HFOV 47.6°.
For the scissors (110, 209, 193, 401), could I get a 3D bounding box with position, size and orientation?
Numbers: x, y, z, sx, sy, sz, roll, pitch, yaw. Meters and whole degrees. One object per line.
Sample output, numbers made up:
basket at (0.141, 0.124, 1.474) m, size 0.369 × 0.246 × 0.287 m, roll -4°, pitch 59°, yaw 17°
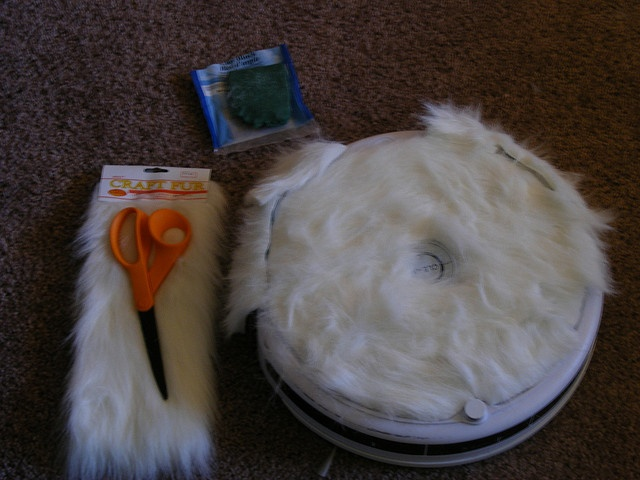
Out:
scissors at (-0.286, 0.091, 1.194) m, size 0.142 × 0.051 × 0.320 m, roll -4°, pitch 67°, yaw -9°
